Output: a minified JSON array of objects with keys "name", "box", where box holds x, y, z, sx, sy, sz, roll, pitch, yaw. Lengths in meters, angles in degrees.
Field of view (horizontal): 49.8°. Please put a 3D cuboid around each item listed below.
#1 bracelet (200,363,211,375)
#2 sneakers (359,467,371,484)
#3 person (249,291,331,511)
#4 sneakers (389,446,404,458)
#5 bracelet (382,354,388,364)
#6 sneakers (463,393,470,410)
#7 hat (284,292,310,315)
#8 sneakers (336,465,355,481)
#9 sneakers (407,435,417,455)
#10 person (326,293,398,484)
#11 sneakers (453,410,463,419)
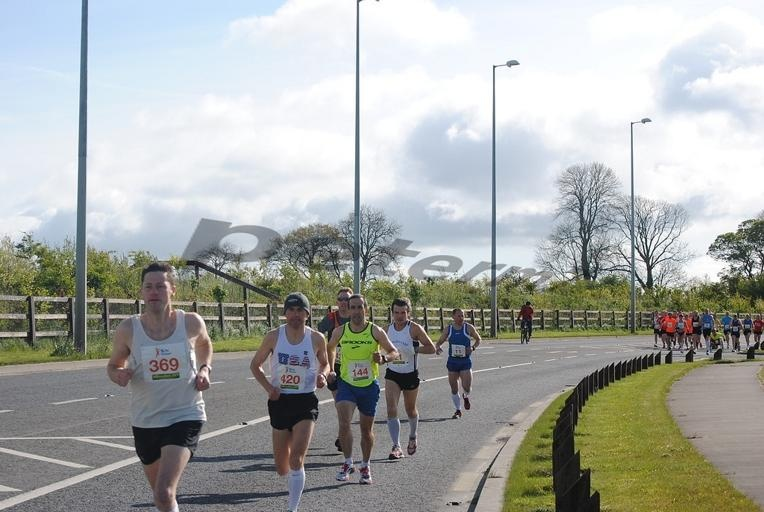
[{"name":"bracelet","box":[-2.194,1.393,10.135,0.095,0.081,0.105,0,-3,1]},{"name":"sneakers","box":[-0.257,3.243,12.232,0.180,0.242,0.349,-2,-6,-2]},{"name":"person","box":[-1.214,1.957,11.153,0.955,2.844,0.508,-1,-5,-7]},{"name":"sneakers","box":[0.216,3.201,13.337,0.107,0.151,0.301,-3,-15,9]},{"name":"bracelet","box":[0.027,1.555,12.411,0.099,0.110,0.108,1,-23,2]},{"name":"sneakers","box":[1.713,2.972,16.764,0.106,0.339,0.122,-5,0,-9]},{"name":"hat","box":[-1.178,0.633,11.324,0.273,0.248,0.300,2,-10,1]},{"name":"sneakers","box":[-0.561,3.223,12.361,0.265,0.246,0.451,-2,-6,-2]},{"name":"sneakers","box":[0.469,3.117,13.506,0.141,0.279,0.276,-2,-6,0]},{"name":"person","box":[-0.356,1.985,12.478,0.939,2.792,0.664,-1,-5,-5]},{"name":"sneakers","box":[1.495,3.171,16.512,0.211,0.152,0.410,-2,-7,5]}]
